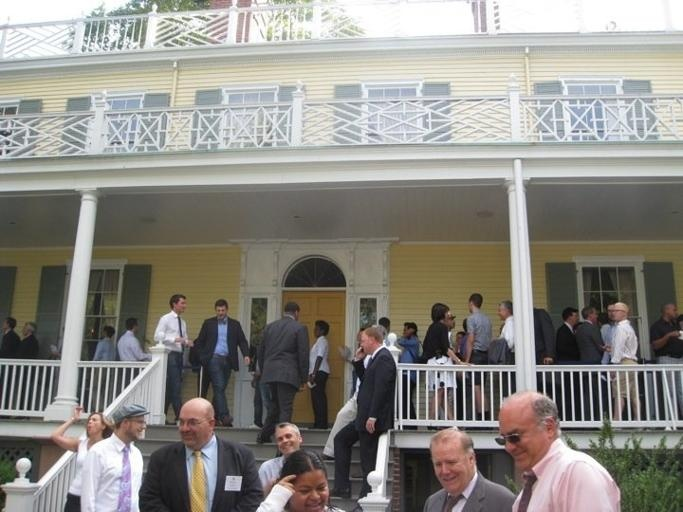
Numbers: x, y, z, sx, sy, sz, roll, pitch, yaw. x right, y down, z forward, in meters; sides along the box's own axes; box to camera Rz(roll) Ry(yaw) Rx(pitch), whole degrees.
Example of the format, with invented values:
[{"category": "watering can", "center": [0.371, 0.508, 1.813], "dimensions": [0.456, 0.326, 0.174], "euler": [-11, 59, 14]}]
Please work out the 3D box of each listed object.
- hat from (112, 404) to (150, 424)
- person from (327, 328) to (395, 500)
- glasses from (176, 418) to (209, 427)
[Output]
[{"category": "hat", "center": [-2.258, 1.658, 6.968], "dimensions": [0.344, 0.124, 0.252], "euler": [-8, -3, -23]}, {"category": "person", "center": [0.338, 2.097, 8.870], "dimensions": [0.677, 2.252, 0.869], "euler": [7, -11, -38]}, {"category": "glasses", "center": [-1.319, 1.492, 5.886], "dimensions": [0.305, 0.104, 0.164], "euler": [2, -9, -11]}]
